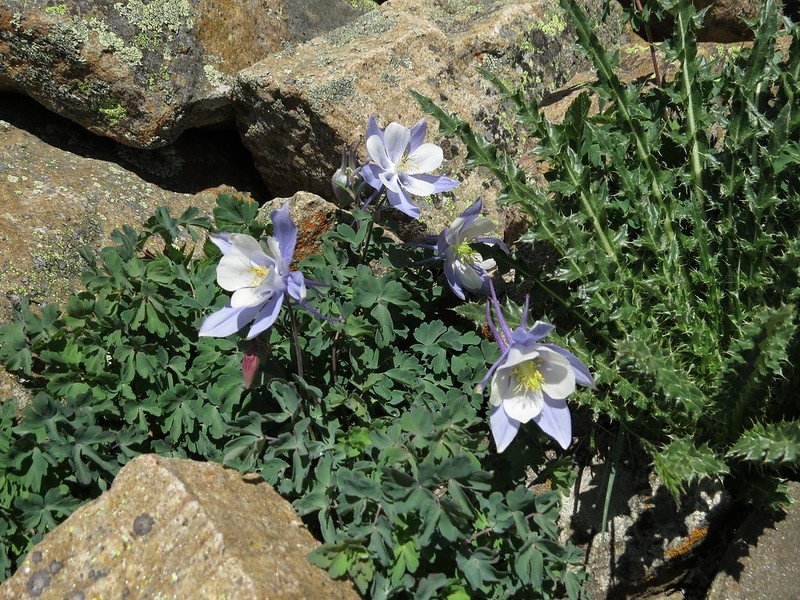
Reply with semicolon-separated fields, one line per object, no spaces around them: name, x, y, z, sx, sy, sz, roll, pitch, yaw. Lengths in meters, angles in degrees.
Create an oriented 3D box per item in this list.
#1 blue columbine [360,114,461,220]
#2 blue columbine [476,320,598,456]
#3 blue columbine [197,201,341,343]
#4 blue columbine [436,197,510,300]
blue columbine;0.038;-0.671;4.230;0.503;0.510;0.147;39;-22;-32
blue columbine;0.587;0.387;3.645;0.549;0.548;0.234;35;3;-33
blue columbine;-0.600;-0.107;3.685;0.188;0.596;0.560;-1;-20;-33
blue columbine;0.305;-0.267;4.340;0.170;0.464;0.451;21;-18;47
